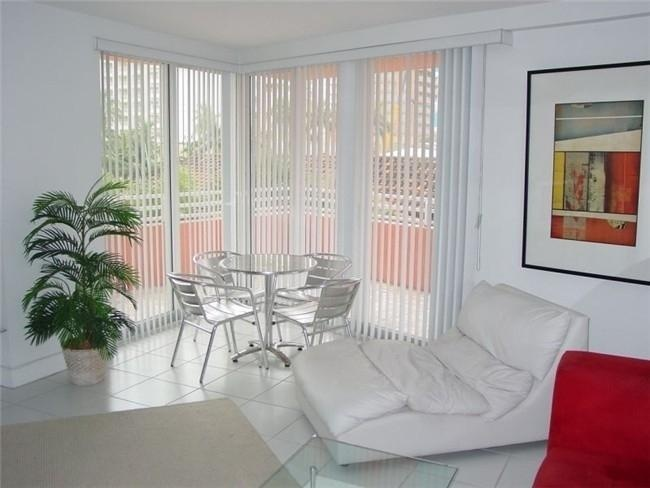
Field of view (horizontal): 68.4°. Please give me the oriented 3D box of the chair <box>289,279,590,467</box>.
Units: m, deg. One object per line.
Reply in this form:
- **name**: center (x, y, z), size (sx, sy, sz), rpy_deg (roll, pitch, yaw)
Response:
- **chair**: center (0.708, 0.967, 3.677), size (1.707, 0.862, 1.254), rpy_deg (-1, 6, -11)

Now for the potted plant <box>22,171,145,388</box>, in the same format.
- **potted plant**: center (-2.222, 0.349, 4.414), size (1.032, 1.833, 1.226), rpy_deg (-5, 14, -21)
